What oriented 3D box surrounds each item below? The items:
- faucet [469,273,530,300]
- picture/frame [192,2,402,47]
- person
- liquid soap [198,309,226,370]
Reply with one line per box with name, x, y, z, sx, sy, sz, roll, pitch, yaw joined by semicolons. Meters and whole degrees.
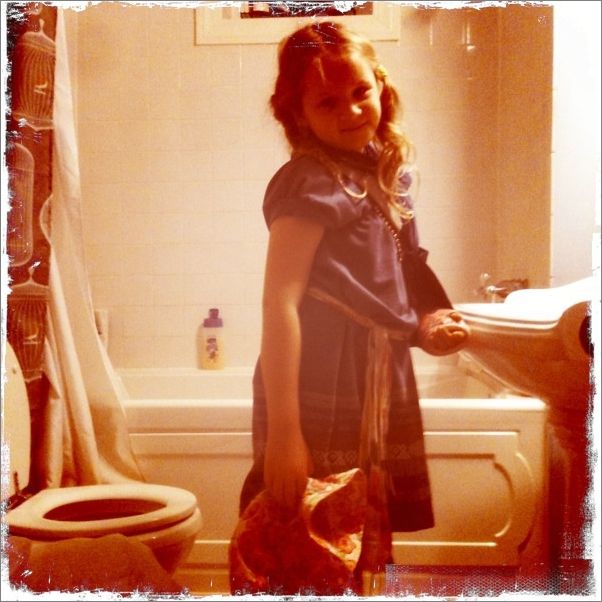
faucet;0.417;-0.026;1.408;0.087;0.048;0.055;-9;7;-7
picture/frame;-0.011;-0.576;1.367;0.429;0.094;0.037;2;9;2
person;0.106;0.033;1.368;0.465;1.192;0.184;3;9;12
liquid soap;-0.195;0.081;1.413;0.060;0.132;0.026;2;9;2
